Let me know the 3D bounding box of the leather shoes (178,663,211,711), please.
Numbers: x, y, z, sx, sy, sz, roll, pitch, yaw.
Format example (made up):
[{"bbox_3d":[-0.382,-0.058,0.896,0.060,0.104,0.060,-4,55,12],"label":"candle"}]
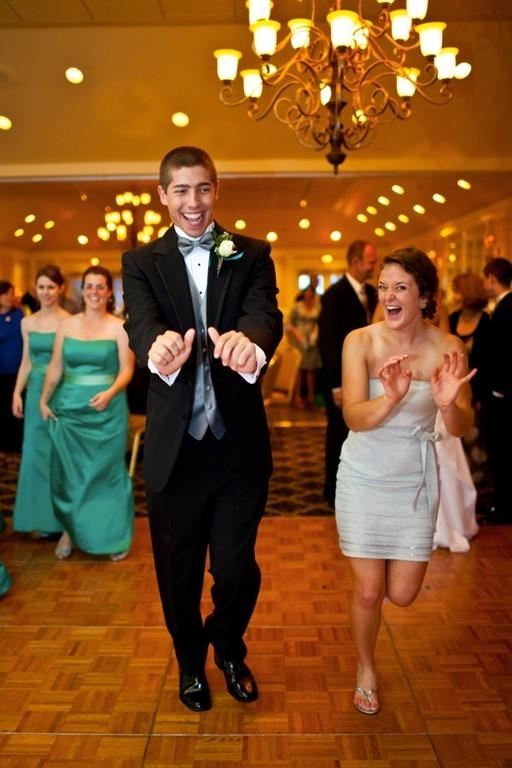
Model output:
[{"bbox_3d":[-0.194,0.956,1.988,0.063,0.066,0.166,2,5,-15],"label":"leather shoes"}]

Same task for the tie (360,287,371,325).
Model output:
[{"bbox_3d":[0.783,-0.569,4.419,0.059,0.216,0.243,2,-10,19],"label":"tie"}]

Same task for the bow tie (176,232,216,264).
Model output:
[{"bbox_3d":[-0.165,-0.382,1.741,0.107,0.077,0.024,-3,16,7],"label":"bow tie"}]

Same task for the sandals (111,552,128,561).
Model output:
[{"bbox_3d":[-0.748,0.944,3.457,0.044,0.044,0.117,-4,-6,15],"label":"sandals"}]
